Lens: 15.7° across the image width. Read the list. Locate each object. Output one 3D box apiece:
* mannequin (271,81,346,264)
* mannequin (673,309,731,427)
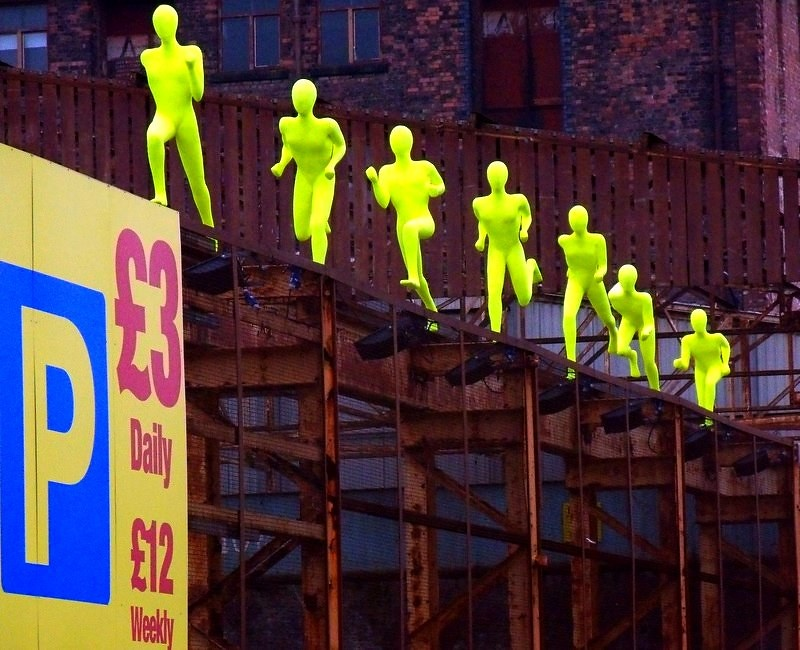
[{"bbox_3d":[-0.974,-1.637,30.579,0.733,1.997,0.791,0,-2,-3],"label":"mannequin"},{"bbox_3d":[3.710,0.456,36.083,0.610,1.232,0.726,0,-2,8],"label":"mannequin"}]
